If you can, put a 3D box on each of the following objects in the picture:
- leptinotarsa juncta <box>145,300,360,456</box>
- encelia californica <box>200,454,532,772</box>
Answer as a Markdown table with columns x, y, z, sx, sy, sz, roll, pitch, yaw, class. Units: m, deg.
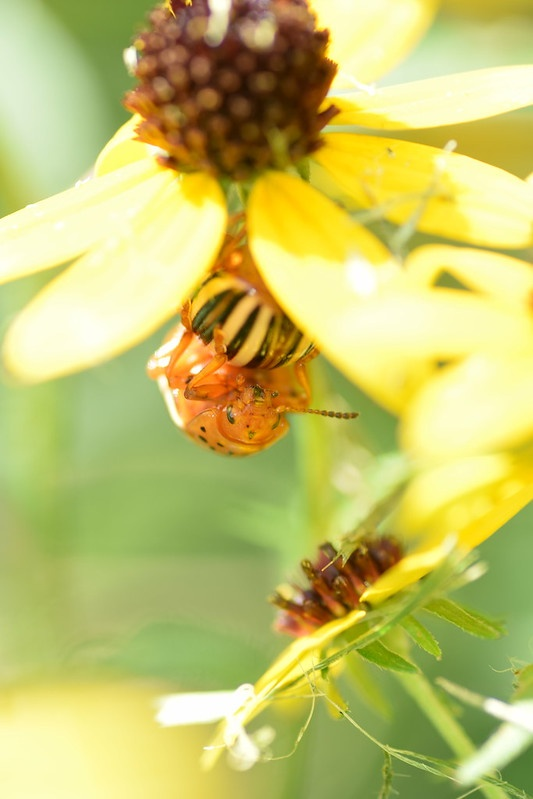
| x | y | z | sx | sy | sz | roll | pitch | yaw | class |
| --- | --- | --- | --- | --- | --- | --- | --- | --- | --- |
| -0.009 | -0.010 | 0.347 | 0.082 | 0.035 | 0.113 | 5 | 44 | -9 | leptinotarsa juncta |
| 0.037 | 0.067 | 0.291 | 0.128 | 0.039 | 0.123 | -40 | -8 | 29 | encelia californica |
